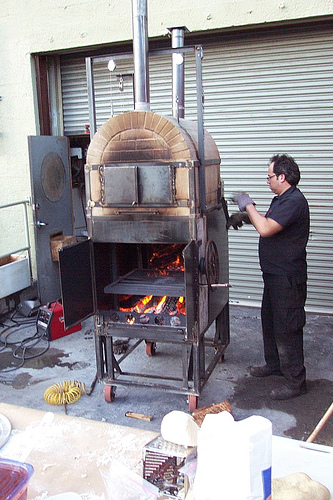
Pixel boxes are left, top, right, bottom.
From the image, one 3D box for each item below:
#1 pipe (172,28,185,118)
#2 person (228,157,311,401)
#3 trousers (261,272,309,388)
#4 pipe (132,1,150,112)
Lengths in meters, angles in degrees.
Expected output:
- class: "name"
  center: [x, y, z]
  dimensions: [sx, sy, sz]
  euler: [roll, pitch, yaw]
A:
- class: "pipe"
  center: [0.113, -1.703, 3.776]
  dimensions: [0.124, 0.761, 0.202]
  euler: [4, 19, 6]
- class: "person"
  center: [0.921, 0.250, 3.273]
  dimensions: [0.613, 2.000, 0.667]
  euler: [-8, -1, 9]
- class: "trousers"
  center: [1.066, 0.595, 3.330]
  dimensions: [0.303, 1.041, 0.515]
  euler: [-5, -6, 36]
- class: "pipe"
  center: [-0.188, -1.442, 2.995]
  dimensions: [0.150, 0.857, 0.199]
  euler: [6, 20, 12]
